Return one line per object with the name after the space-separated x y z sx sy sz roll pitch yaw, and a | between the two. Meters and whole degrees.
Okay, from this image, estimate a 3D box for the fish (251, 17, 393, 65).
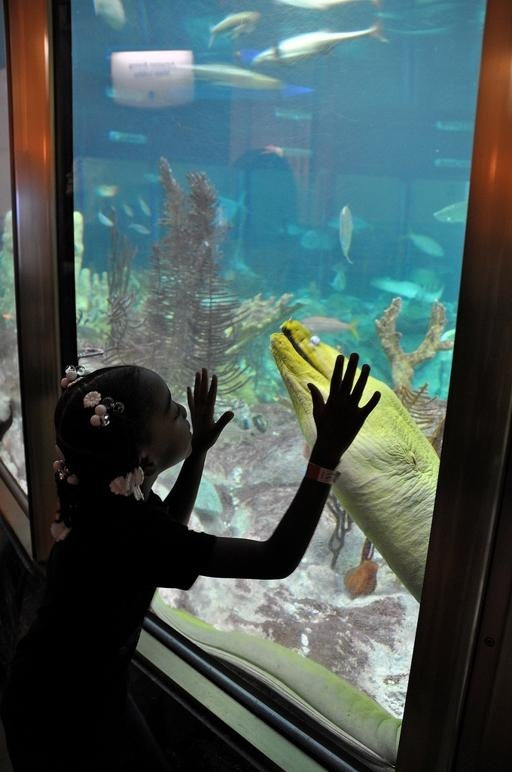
0.138 -0.692 1.138 0.016 0.051 0.314 -13 26 -40 | fish

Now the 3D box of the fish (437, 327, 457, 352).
0.335 -0.078 0.980 0.014 0.042 0.032 7 -4 -15 | fish

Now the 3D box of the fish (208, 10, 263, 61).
-0.053 -0.836 1.324 0.066 0.071 0.086 1 25 3 | fish

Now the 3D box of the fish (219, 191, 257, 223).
-0.047 -0.447 1.399 0.027 0.062 0.082 -17 19 -40 | fish

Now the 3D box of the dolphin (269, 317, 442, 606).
0.161 0.152 1.171 0.306 0.528 0.341 -2 19 -19 | dolphin
